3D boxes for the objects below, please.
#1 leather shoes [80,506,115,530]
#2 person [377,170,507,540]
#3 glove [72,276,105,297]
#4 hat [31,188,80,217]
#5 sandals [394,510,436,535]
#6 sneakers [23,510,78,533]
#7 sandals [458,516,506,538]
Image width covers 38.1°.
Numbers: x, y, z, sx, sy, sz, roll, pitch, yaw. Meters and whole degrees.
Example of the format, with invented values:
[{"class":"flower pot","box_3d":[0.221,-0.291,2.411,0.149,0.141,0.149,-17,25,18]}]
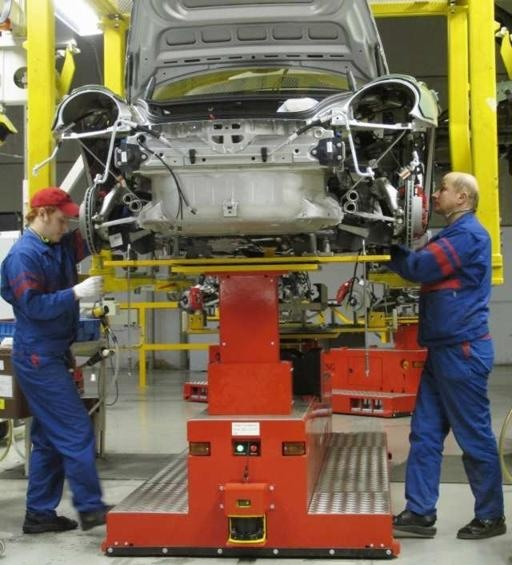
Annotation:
[{"class":"leather shoes","box_3d":[-0.930,1.389,4.360,0.085,0.142,0.194,0,3,41]},{"class":"person","box_3d":[1.090,0.392,4.275,0.621,2.080,0.467,-1,3,13]},{"class":"glove","box_3d":[-0.989,0.026,4.387,0.169,0.129,0.229,-2,2,-11]},{"class":"hat","box_3d":[-1.215,-0.485,4.501,0.318,0.123,0.173,-2,15,-13]},{"class":"sandals","box_3d":[0.844,1.365,4.200,0.332,0.091,0.102,3,-7,7]},{"class":"sneakers","box_3d":[-1.219,1.433,4.453,0.378,0.120,0.110,2,0,-16]},{"class":"sandals","box_3d":[1.259,1.376,4.158,0.310,0.093,0.095,1,-7,-9]}]
